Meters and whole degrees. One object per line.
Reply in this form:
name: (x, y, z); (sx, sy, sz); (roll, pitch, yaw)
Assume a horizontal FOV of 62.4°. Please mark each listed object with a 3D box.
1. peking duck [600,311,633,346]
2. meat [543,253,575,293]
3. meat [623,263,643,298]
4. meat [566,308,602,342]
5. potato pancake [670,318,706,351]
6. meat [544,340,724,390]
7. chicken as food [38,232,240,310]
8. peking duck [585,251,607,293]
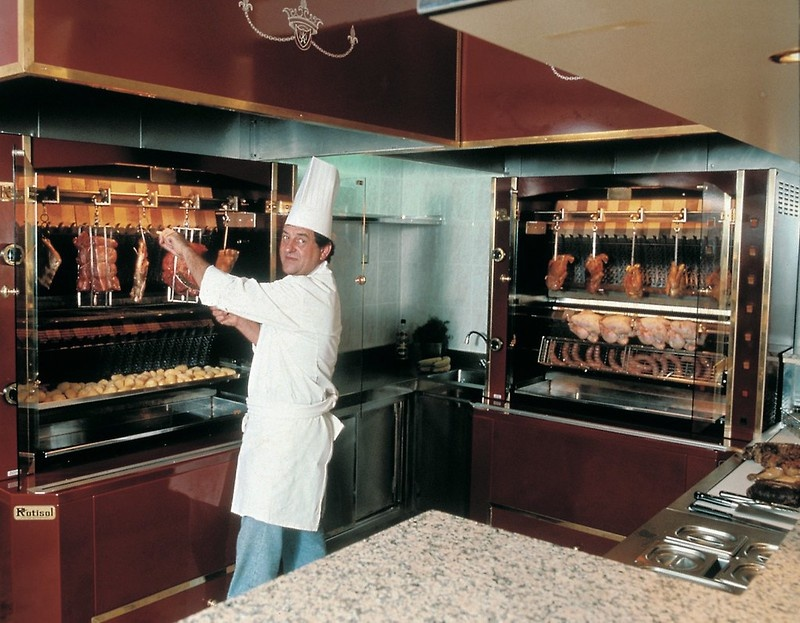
peking duck: (1.125, 0.101, 3.405); (0.158, 0.151, 0.072); (5, 34, 24)
meat: (0.868, -0.209, 3.592); (0.146, 0.187, 0.079); (6, -1, 39)
meat: (1.192, -0.151, 3.362); (0.099, 0.162, 0.051); (-2, -5, 44)
meat: (0.982, 0.078, 3.495); (0.174, 0.126, 0.079); (24, 30, 28)
potato pancake: (1.391, 0.126, 3.196); (0.148, 0.106, 0.059); (14, 20, 40)
meat: (1.153, 0.255, 3.391); (0.937, 0.221, 0.132); (9, 12, 35)
chicken as food: (-1.201, -0.180, 2.873); (0.657, 0.342, 0.225); (0, 4, -28)
peking duck: (1.029, -0.204, 3.464); (0.049, 0.182, 0.133); (8, -10, -37)
